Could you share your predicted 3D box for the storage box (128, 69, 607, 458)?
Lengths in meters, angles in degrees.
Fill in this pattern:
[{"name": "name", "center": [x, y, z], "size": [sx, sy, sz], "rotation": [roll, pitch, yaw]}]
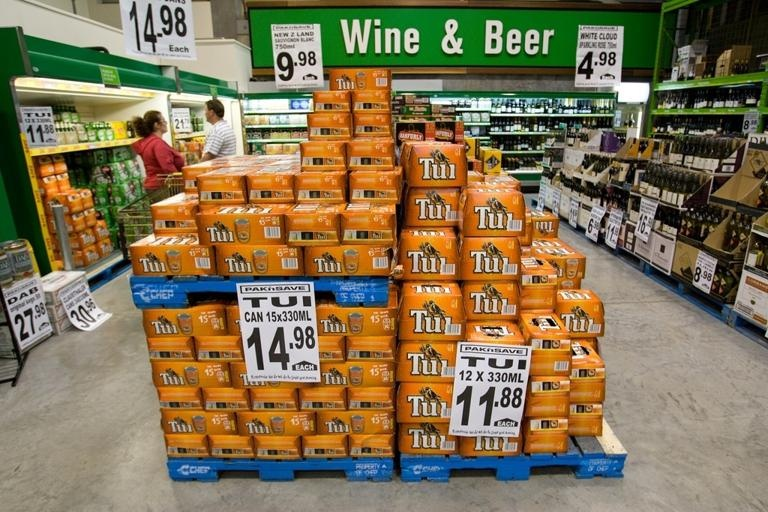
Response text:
[{"name": "storage box", "center": [-0.163, 0.305, 4.416], "size": [3.628, 2.534, 1.272], "rotation": [-2, 20, 2]}]
